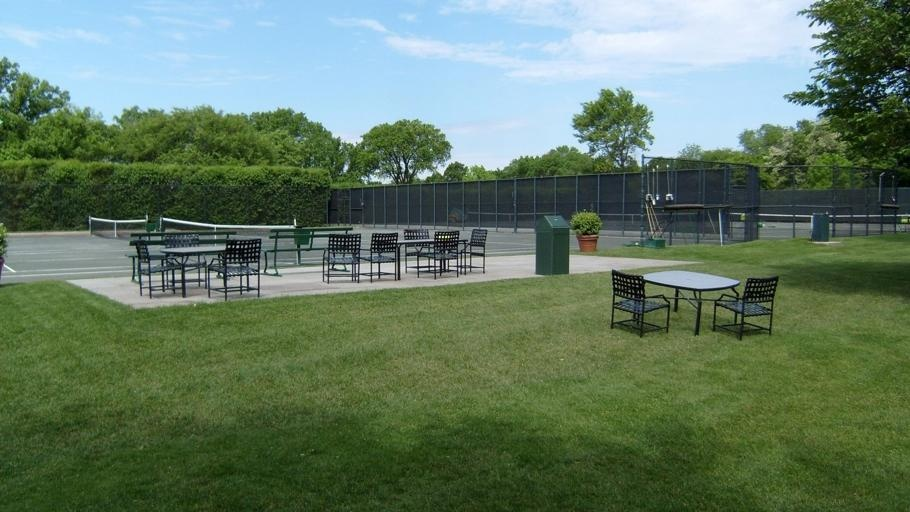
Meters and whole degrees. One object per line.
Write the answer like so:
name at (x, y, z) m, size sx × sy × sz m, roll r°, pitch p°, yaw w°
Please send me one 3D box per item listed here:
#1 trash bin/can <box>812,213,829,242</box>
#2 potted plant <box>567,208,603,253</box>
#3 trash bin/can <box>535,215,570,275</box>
trash bin/can at (16.049, -1.227, 28.993) m, size 0.649 × 1.204 × 0.718 m, roll 2°, pitch 5°, yaw 24°
potted plant at (5.385, -1.011, 27.665) m, size 1.833 × 1.882 × 1.659 m, roll 0°, pitch -2°, yaw -4°
trash bin/can at (2.974, -0.314, 19.948) m, size 1.001 × 1.722 × 0.769 m, roll 1°, pitch 4°, yaw 6°
